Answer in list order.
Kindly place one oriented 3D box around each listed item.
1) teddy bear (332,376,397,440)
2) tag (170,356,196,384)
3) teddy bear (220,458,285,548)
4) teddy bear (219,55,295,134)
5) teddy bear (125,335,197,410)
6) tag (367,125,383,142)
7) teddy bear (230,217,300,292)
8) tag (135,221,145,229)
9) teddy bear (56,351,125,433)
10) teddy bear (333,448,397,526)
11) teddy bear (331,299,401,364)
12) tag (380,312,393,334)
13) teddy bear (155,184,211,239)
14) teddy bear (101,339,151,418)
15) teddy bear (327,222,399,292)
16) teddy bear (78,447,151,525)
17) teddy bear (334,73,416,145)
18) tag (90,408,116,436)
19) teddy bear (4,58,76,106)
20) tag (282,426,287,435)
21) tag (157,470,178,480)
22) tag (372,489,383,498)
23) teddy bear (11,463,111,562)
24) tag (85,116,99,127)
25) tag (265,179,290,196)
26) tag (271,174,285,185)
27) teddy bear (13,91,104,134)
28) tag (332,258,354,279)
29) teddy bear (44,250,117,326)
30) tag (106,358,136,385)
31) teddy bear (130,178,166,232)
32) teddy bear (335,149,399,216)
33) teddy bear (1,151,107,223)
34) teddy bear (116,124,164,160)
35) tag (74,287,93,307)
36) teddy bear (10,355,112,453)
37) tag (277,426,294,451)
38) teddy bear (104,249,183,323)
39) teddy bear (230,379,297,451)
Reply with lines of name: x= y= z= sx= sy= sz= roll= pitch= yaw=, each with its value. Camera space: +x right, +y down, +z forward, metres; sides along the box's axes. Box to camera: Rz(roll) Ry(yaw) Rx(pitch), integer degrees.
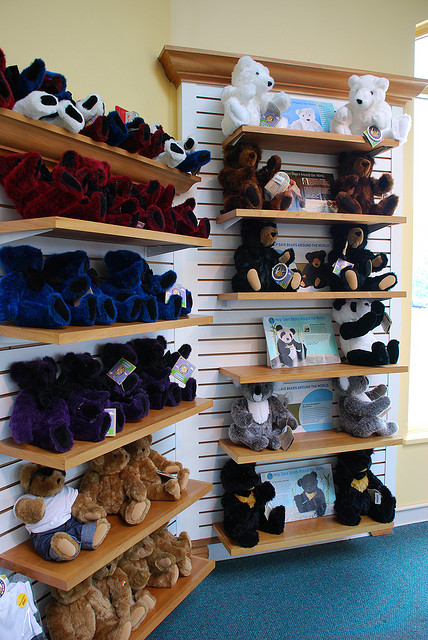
teddy bear: x=0.822 y=0.415 z=2.487 sx=0.291 sy=0.396 sz=0.309 roll=-6 pitch=1 yaw=-12
tag: x=-0.128 y=0.207 z=1.914 sx=0.104 sy=0.100 sz=0.027 roll=44 pitch=-17 yaw=-24
teddy bear: x=0.171 y=0.883 z=2.252 sx=0.258 sy=0.391 sz=0.301 roll=-8 pitch=-4 yaw=30
teddy bear: x=0.170 y=-1.010 z=2.125 sx=0.350 sy=0.349 sz=0.227 roll=-4 pitch=12 yaw=-35
teddy bear: x=-0.218 y=0.214 z=1.882 sx=0.277 sy=0.277 sz=0.115 roll=-1 pitch=-13 yaw=-41
tag: x=0.749 y=-0.874 z=2.197 sx=0.077 sy=0.077 sz=0.018 roll=-25 pitch=8 yaw=-25
teddy bear: x=0.251 y=-0.329 z=2.246 sx=0.326 sy=0.383 sz=0.247 roll=-1 pitch=4 yaw=-18
tag: x=-0.265 y=-0.343 z=1.675 sx=0.021 sy=0.025 sz=0.045 roll=1 pitch=3 yaw=16
teddy bear: x=-0.432 y=0.218 z=1.620 sx=0.169 sy=0.152 sz=0.291 roll=-6 pitch=34 yaw=-35
teddy bear: x=0.765 y=0.866 z=2.465 sx=0.299 sy=0.404 sz=0.264 roll=-6 pitch=0 yaw=-22
teddy bear: x=0.795 y=0.023 z=2.469 sx=0.278 sy=0.444 sz=0.331 roll=-5 pitch=0 yaw=-28
tag: x=0.920 y=0.013 z=2.474 sx=0.029 sy=0.083 sz=0.107 roll=-1 pitch=-36 yaw=-15
teddy bear: x=-0.144 y=-0.459 z=1.911 sx=0.101 sy=0.140 sz=0.327 roll=-12 pitch=-16 yaw=-3
teddy bear: x=-0.358 y=0.173 z=1.743 sx=0.101 sy=0.255 sz=0.154 roll=-8 pitch=-27 yaw=34
teddy bear: x=0.725 y=-0.324 z=2.474 sx=0.328 sy=0.452 sz=0.370 roll=-2 pitch=0 yaw=-27
teddy bear: x=-0.368 y=0.590 z=1.696 sx=0.257 sy=0.302 sz=0.186 roll=8 pitch=-9 yaw=-43
teddy bear: x=0.758 y=-1.009 z=2.266 sx=0.348 sy=0.330 sz=0.232 roll=6 pitch=18 yaw=12
tag: x=-0.356 y=0.325 z=1.470 sx=0.092 sy=0.120 sz=0.009 roll=1 pitch=-2 yaw=-14
teddy bear: x=-0.525 y=-0.694 z=1.398 sx=0.142 sy=0.081 sz=0.217 roll=-15 pitch=26 yaw=-29
tag: x=0.348 y=0.536 z=2.254 sx=0.008 sy=0.032 sz=0.034 roll=31 pitch=9 yaw=-2
tag: x=-0.197 y=0.641 z=1.920 sx=0.040 sy=0.009 sz=0.039 roll=26 pitch=4 yaw=-37
tag: x=0.871 y=0.924 z=2.473 sx=0.016 sy=0.064 sz=0.051 roll=-11 pitch=3 yaw=-41
teddy bear: x=-0.498 y=0.603 z=1.536 sx=0.270 sy=0.276 sz=0.289 roll=2 pitch=3 yaw=22
tag: x=-0.411 y=-0.655 z=1.546 sx=0.043 sy=0.012 sz=0.047 roll=-45 pitch=3 yaw=45
tag: x=0.300 y=-0.600 z=2.195 sx=0.065 sy=0.096 sz=0.091 roll=42 pitch=5 yaw=11
tag: x=0.296 y=-0.651 z=2.140 sx=0.054 sy=0.046 sz=0.015 roll=1 pitch=3 yaw=7
teddy bear: x=-0.460 y=-0.620 z=1.364 sx=0.178 sy=0.065 sz=0.132 roll=35 pitch=31 yaw=16
tag: x=0.643 y=-0.260 z=2.325 sx=0.095 sy=0.094 sz=0.056 roll=1 pitch=3 yaw=8
teddy bear: x=-0.407 y=-0.101 z=1.440 sx=0.223 sy=0.230 sz=0.230 roll=-1 pitch=3 yaw=-21
tag: x=-0.341 y=0.190 z=1.693 sx=0.069 sy=0.091 sz=0.010 roll=32 pitch=-25 yaw=11
teddy bear: x=-0.240 y=-0.420 z=1.666 sx=0.084 sy=0.109 sz=0.259 roll=-1 pitch=4 yaw=-11
teddy bear: x=0.768 y=-0.711 z=2.355 sx=0.300 sy=0.375 sz=0.259 roll=3 pitch=3 yaw=17
teddy bear: x=-0.460 y=-0.353 z=1.316 sx=0.202 sy=0.136 sz=0.273 roll=-3 pitch=1 yaw=-33
teddy bear: x=-0.271 y=-0.656 z=1.724 sx=0.072 sy=0.100 sz=0.228 roll=9 pitch=-7 yaw=-23
tag: x=-0.389 y=-0.064 z=1.375 sx=0.014 sy=0.050 sz=0.054 roll=40 pitch=17 yaw=-1
teddy bear: x=-0.505 y=0.258 z=1.453 sx=0.296 sy=0.245 sz=0.239 roll=2 pitch=3 yaw=26
tag: x=0.339 y=0.561 z=2.183 sx=0.025 sy=0.090 sz=0.091 roll=14 pitch=41 yaw=-26
teddy bear: x=-0.257 y=-0.128 z=1.716 sx=0.339 sy=0.153 sz=0.202 roll=15 pitch=6 yaw=37
teddy bear: x=0.222 y=0.431 z=2.267 sx=0.299 sy=0.401 sz=0.236 roll=-5 pitch=8 yaw=-28
